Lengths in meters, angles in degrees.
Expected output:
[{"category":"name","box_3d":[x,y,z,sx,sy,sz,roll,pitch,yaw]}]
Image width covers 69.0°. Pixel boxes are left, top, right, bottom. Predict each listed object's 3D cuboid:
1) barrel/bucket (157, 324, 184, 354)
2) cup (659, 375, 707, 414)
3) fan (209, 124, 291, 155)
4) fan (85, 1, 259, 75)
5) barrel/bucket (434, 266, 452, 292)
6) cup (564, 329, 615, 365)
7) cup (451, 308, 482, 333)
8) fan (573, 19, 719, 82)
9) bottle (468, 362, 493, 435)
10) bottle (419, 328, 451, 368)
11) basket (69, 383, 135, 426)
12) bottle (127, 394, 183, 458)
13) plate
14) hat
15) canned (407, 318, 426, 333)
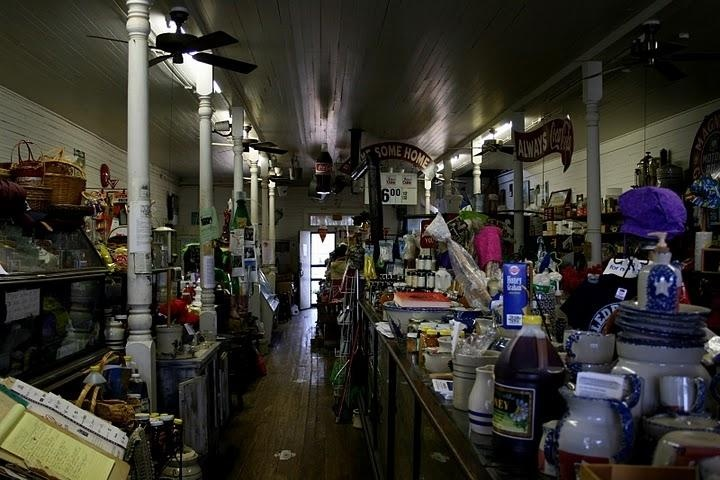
[{"category":"barrel/bucket","box_3d":[-1.631,0.843,4.445,0.222,0.239,0.220,1,-6,0]},{"category":"cup","box_3d":[1.219,0.595,1.991,0.160,0.140,0.104,2,-5,18]},{"category":"fan","box_3d":[-1.802,-1.756,9.050,1.332,0.464,1.177,-3,12,-43]},{"category":"fan","box_3d":[-1.629,-1.746,4.744,1.210,0.485,1.219,-3,5,-19]},{"category":"barrel/bucket","box_3d":[0.696,0.349,4.440,0.158,0.275,0.156,3,-3,0]},{"category":"cup","box_3d":[0.962,0.444,2.184,0.157,0.132,0.233,5,0,39]},{"category":"cup","box_3d":[0.683,0.519,3.321,0.140,0.100,0.142,0,-10,0]},{"category":"fan","box_3d":[3.256,-2.194,5.984,0.867,0.282,0.744,2,-6,-42]},{"category":"bottle","box_3d":[0.533,0.714,2.299,0.107,0.290,0.073,5,0,18]},{"category":"bottle","box_3d":[0.411,0.631,3.004,0.134,0.165,0.225,1,-7,-5]},{"category":"basket","box_3d":[-1.607,1.008,3.283,0.487,0.237,0.151,0,-4,34]},{"category":"bottle","box_3d":[-1.444,1.299,3.552,0.242,0.382,0.405,-3,-4,25]},{"category":"plate","box_3d":[1.179,0.339,2.054,0.311,0.170,0.121,5,0,27]},{"category":"hat","box_3d":[1.260,-0.118,2.271,0.263,0.221,0.173,5,0,27]},{"category":"canned","box_3d":[0.386,0.583,3.614,0.106,0.101,0.107,2,-5,4]}]
